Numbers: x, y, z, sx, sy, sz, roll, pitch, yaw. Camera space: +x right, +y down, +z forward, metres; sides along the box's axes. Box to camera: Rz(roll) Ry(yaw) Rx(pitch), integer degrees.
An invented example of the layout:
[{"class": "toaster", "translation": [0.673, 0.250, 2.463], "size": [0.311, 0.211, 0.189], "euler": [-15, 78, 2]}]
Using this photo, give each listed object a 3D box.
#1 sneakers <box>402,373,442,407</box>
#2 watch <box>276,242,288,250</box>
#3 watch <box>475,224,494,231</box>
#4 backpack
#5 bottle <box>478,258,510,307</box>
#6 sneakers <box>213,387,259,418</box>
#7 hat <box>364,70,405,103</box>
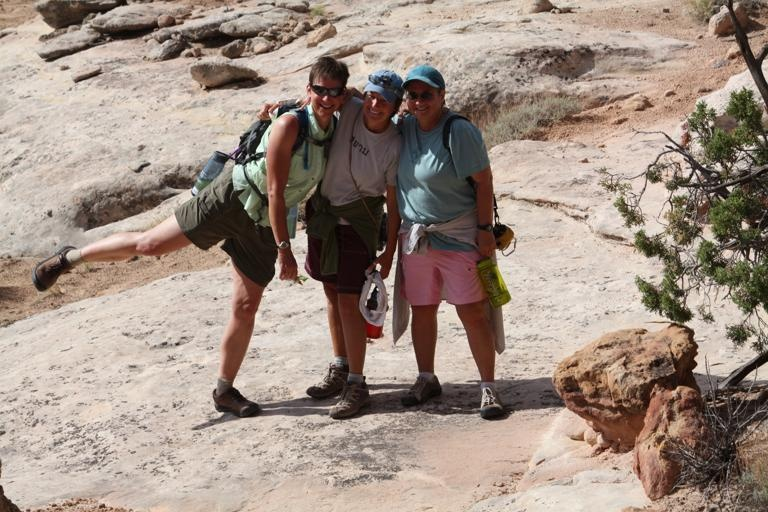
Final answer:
[{"class": "sneakers", "translation": [0.363, 1.308, 9.202], "size": [0.195, 0.214, 0.528], "euler": [10, 20, 42]}, {"class": "watch", "translation": [-0.938, -0.087, 8.729], "size": [0.091, 0.038, 0.080], "euler": [2, 5, -2]}, {"class": "watch", "translation": [0.963, -0.264, 8.837], "size": [0.111, 0.055, 0.108], "euler": [1, -3, 33]}, {"class": "backpack", "translation": [-1.105, -1.158, 8.944], "size": [0.837, 0.497, 0.477], "euler": [-6, 27, 6]}, {"class": "bottle", "translation": [1.039, 0.282, 8.934], "size": [0.244, 0.536, 0.334], "euler": [-10, 28, 5]}, {"class": "sneakers", "translation": [-1.470, 1.441, 9.294], "size": [0.534, 0.181, 0.226], "euler": [8, 20, 32]}, {"class": "hat", "translation": [0.003, -1.565, 8.777], "size": [0.372, 0.311, 0.271], "euler": [-10, 27, -1]}]
